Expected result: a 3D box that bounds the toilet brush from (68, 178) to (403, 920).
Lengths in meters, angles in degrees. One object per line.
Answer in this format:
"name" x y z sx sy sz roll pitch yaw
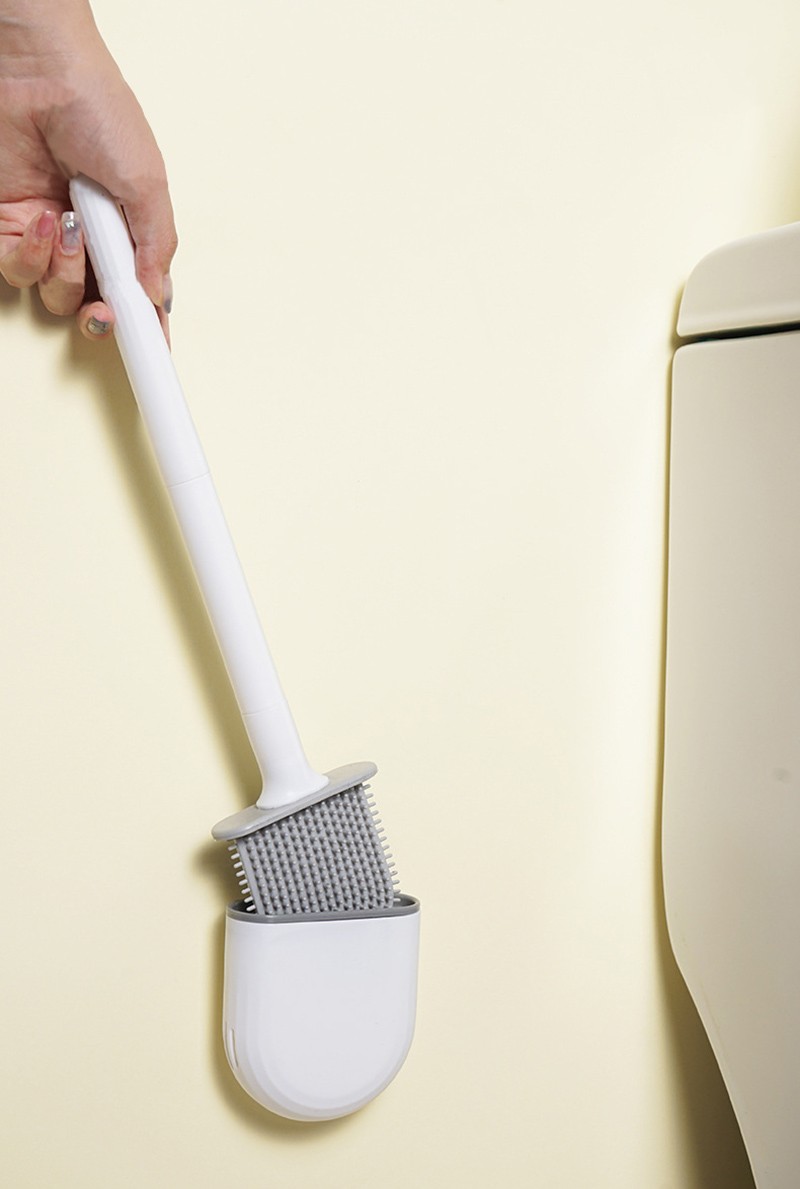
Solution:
"toilet brush" -0.084 -0.020 0.666 0.099 0.420 0.074 -12 10 -12
